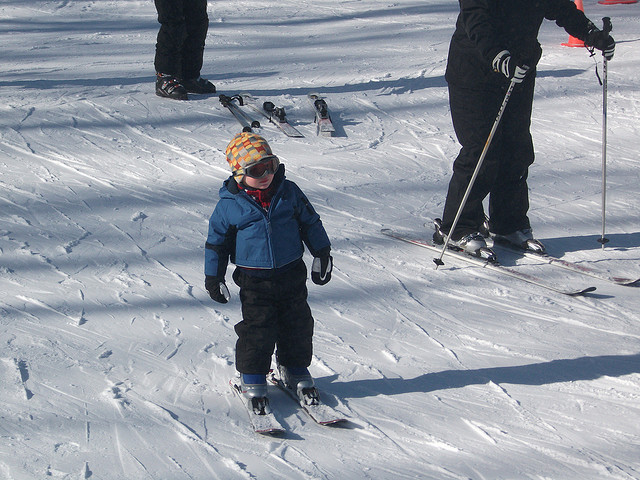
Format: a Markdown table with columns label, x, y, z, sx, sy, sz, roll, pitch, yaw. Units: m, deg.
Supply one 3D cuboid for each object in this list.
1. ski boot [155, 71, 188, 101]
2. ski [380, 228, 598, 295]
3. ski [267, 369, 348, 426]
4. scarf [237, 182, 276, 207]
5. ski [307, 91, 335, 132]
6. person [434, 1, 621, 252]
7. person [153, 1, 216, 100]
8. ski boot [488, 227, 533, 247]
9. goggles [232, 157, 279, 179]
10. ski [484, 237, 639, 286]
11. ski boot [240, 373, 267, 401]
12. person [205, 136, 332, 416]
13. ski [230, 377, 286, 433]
| label | x | y | z | sx | sy | sz | roll | pitch | yaw |
| --- | --- | --- | --- | --- | --- | --- | --- | --- | --- |
| ski boot | -1.609 | -1.667 | 7.673 | 0.271 | 0.305 | 0.310 | -9 | 18 | -21 |
| ski | 1.273 | 0.184 | 5.449 | 1.659 | 0.087 | 0.148 | 13 | 17 | 10 |
| ski | -0.083 | 0.902 | 4.033 | 0.693 | 0.058 | 0.114 | 26 | 22 | 34 |
| scarf | -0.326 | -0.253 | 3.960 | 0.200 | 0.074 | 0.142 | 10 | 22 | 38 |
| ski | -0.014 | -1.386 | 7.672 | 0.195 | 0.125 | 0.772 | -8 | 35 | -14 |
| person | 1.383 | -0.828 | 5.435 | 0.875 | 1.899 | 1.022 | 7 | 21 | 26 |
| person | -1.450 | -2.040 | 7.651 | 0.690 | 1.048 | 0.419 | -9 | 21 | -19 |
| ski boot | 1.554 | -0.028 | 5.695 | 0.232 | 0.057 | 0.161 | 18 | 29 | 29 |
| goggles | -0.347 | -0.397 | 3.905 | 0.263 | 0.114 | 0.115 | -3 | 17 | -6 |
| ski | 1.857 | 0.177 | 5.510 | 1.223 | 0.069 | 0.110 | 14 | -9 | 26 |
| ski boot | -0.363 | 0.808 | 3.940 | 0.090 | 0.086 | 0.228 | -3 | 20 | -18 |
| person | -0.280 | 0.208 | 3.911 | 0.688 | 1.539 | 0.596 | -3 | 20 | 1 |
| ski | -0.304 | 0.957 | 3.907 | 0.162 | 0.149 | 0.250 | -8 | 16 | -20 |
